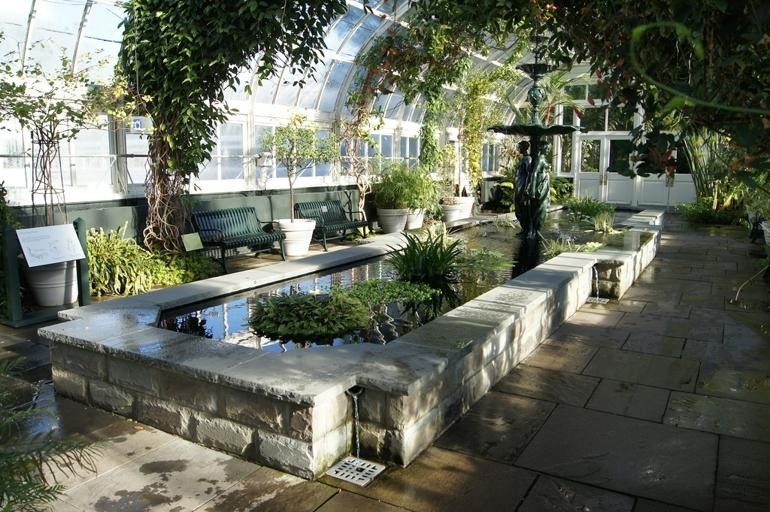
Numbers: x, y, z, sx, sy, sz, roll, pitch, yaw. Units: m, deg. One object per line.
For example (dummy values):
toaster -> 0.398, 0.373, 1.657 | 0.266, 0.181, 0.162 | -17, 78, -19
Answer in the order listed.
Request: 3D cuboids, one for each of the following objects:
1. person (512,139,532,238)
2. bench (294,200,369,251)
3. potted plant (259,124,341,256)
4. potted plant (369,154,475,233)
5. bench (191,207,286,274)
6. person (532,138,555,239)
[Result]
person -> 2.303, -1.142, 8.655 | 0.248, 1.556, 0.599 | 4, 13, 14
bench -> -1.071, -0.556, 9.731 | 0.493, 0.574, 1.237 | 5, 7, 31
potted plant -> -1.591, -1.365, 9.527 | 1.411, 2.486, 2.586 | 0, 12, -2
potted plant -> 0.841, -1.287, 12.065 | 2.453, 1.409, 1.830 | 1, 3, -39
bench -> -2.268, -0.299, 8.190 | 0.751, 0.785, 1.538 | 10, 12, 21
person -> 2.565, -1.130, 8.541 | 0.287, 1.566, 0.657 | 5, 13, 20
